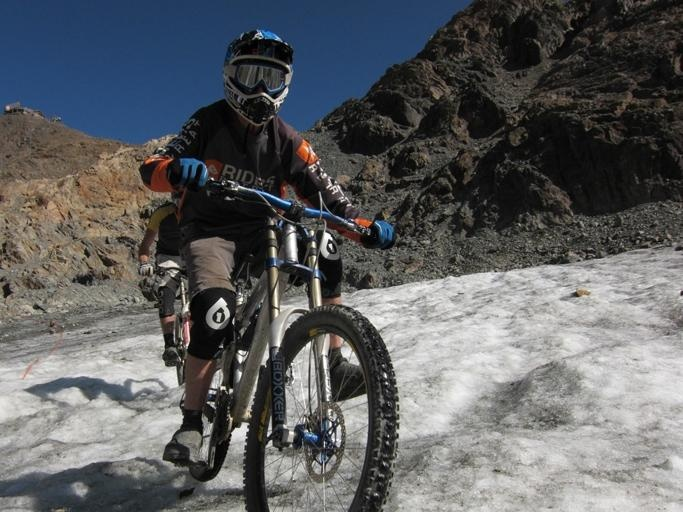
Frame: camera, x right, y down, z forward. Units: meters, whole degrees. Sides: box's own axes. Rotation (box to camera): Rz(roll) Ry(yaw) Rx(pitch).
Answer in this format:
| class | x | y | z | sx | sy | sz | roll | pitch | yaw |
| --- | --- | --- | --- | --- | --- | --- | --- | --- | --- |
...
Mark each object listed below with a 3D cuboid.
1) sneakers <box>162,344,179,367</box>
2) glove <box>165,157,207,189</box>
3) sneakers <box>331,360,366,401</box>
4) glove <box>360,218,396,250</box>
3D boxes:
| class | x | y | z | sx | sy | sz | roll | pitch | yaw |
| --- | --- | --- | --- | --- | --- | --- | --- | --- | --- |
| sneakers | -2.561 | 1.484 | 7.810 | 0.160 | 0.212 | 0.450 | 7 | -27 | -28 |
| glove | -1.229 | -0.670 | 4.205 | 0.261 | 0.138 | 0.230 | 0 | -4 | 24 |
| sneakers | 0.041 | 0.989 | 4.264 | 0.252 | 0.335 | 0.155 | 10 | 37 | 4 |
| glove | 0.297 | -0.195 | 4.881 | 0.292 | 0.231 | 0.284 | -16 | -4 | 32 |
